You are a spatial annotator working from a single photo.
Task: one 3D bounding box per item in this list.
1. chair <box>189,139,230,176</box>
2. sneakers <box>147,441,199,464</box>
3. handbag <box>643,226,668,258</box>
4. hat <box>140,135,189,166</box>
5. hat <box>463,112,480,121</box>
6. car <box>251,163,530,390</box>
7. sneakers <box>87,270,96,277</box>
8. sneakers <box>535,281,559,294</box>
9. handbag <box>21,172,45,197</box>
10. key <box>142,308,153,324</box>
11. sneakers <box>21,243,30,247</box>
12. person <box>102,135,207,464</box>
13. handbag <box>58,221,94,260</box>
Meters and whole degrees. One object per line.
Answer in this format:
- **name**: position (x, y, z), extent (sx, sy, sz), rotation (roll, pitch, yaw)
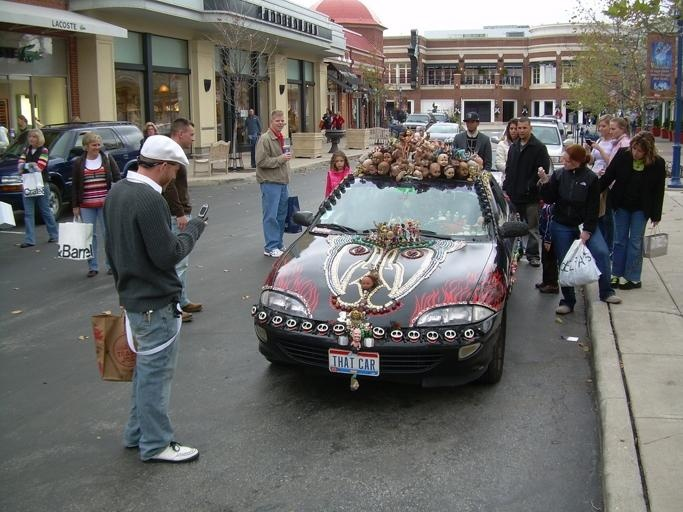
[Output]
- **chair**: position (-5.267, -3.986, 22.401), extent (1.232, 1.622, 1.217), rotation (-9, 21, -36)
- **sneakers**: position (-1.249, 1.511, 4.204), extent (0.393, 0.182, 0.157), rotation (-3, 4, -7)
- **handbag**: position (4.787, -0.213, 8.464), extent (0.487, 0.560, 0.163), rotation (-10, 13, -30)
- **hat**: position (-1.304, -0.774, 4.096), extent (0.261, 0.149, 0.206), rotation (-6, 31, -37)
- **hat**: position (2.473, -2.665, 10.610), extent (0.227, 0.175, 0.324), rotation (5, 8, 36)
- **car**: position (0.513, 0.229, 5.742), extent (2.280, 1.872, 2.411), rotation (4, 14, 21)
- **sneakers**: position (-4.244, 0.300, 9.419), extent (0.062, 0.087, 0.201), rotation (-1, 1, -6)
- **sneakers**: position (3.102, 0.482, 8.383), extent (0.348, 0.182, 0.134), rotation (7, 11, 24)
- **handbag**: position (-6.402, -1.505, 11.524), extent (0.382, 0.583, 0.184), rotation (-11, 24, -25)
- **key**: position (-1.419, 0.444, 4.068), extent (0.057, 0.091, 0.025), rotation (3, 2, -7)
- **sneakers**: position (-6.471, -0.227, 11.375), extent (0.206, 0.101, 0.079), rotation (4, 0, -10)
- **person**: position (-1.415, 0.339, 4.172), extent (0.663, 2.436, 0.493), rotation (-2, 11, -7)
- **handbag**: position (-4.045, -0.240, 8.462), extent (0.479, 0.568, 0.302), rotation (-1, 12, 1)
